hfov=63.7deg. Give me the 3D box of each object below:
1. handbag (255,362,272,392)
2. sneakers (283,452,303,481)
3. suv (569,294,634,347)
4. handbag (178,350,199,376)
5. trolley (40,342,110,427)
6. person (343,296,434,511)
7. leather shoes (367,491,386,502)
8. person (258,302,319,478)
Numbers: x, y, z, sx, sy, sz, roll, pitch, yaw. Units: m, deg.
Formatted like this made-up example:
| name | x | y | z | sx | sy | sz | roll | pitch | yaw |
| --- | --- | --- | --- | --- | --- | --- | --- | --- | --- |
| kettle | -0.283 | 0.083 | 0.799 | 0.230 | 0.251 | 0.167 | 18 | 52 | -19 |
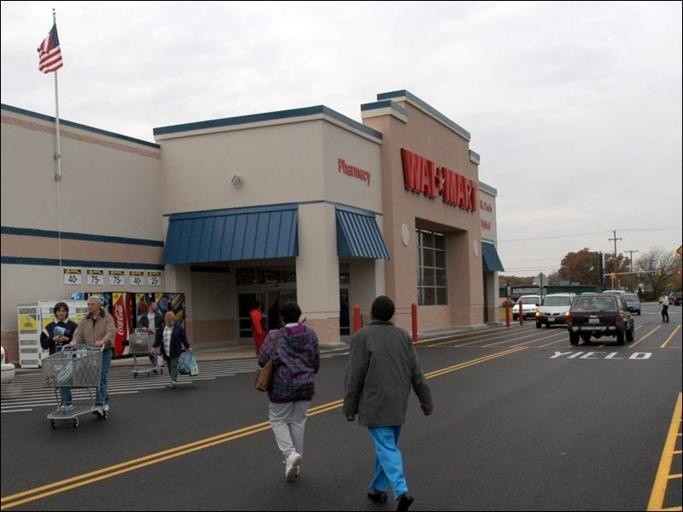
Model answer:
| name | x | y | z | sx | sy | sz | roll | pitch | yaw |
| --- | --- | --- | --- | --- | --- | --- | --- | --- | --- |
| handbag | -1.077 | 1.703 | 7.665 | 0.226 | 0.446 | 0.640 | -3 | -4 | -10 |
| sneakers | -0.617 | 2.733 | 7.164 | 0.154 | 0.462 | 0.201 | 3 | 32 | -8 |
| suv | 11.722 | 2.888 | 25.256 | 1.727 | 1.694 | 3.274 | -2 | 3 | 22 |
| handbag | -4.118 | 2.887 | 14.680 | 0.438 | 0.757 | 0.815 | -2 | -4 | -13 |
| trolley | -5.336 | 2.517 | 10.980 | 0.784 | 1.613 | 1.464 | -3 | -8 | -3 |
| person | 0.515 | 1.709 | 6.473 | 0.984 | 2.427 | 0.592 | -3 | -4 | 4 |
| leather shoes | 0.424 | 2.895 | 6.609 | 0.088 | 0.105 | 0.224 | 2 | -7 | -42 |
| person | -0.700 | 1.793 | 7.414 | 0.830 | 2.300 | 0.573 | -3 | -4 | -10 |
